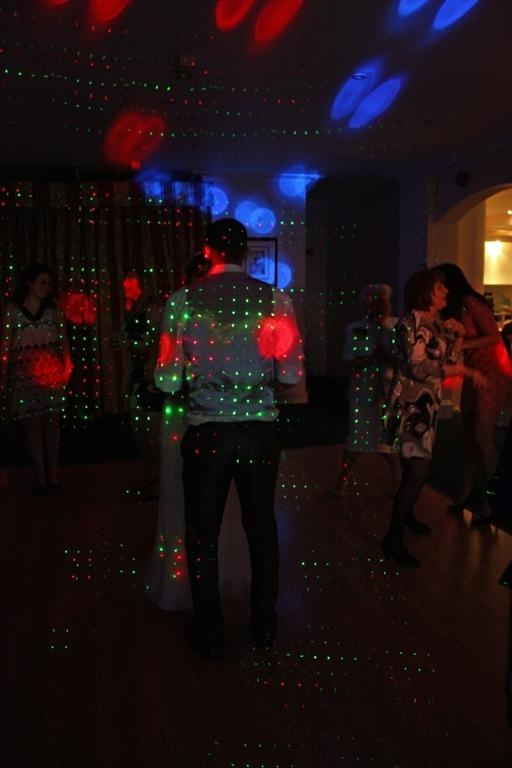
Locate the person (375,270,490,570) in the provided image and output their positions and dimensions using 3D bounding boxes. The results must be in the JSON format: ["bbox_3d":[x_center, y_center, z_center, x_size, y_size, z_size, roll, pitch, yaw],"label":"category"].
[{"bbox_3d":[0.683,0.144,2.434,0.328,1.196,0.182,-3,6,-27],"label":"person"}]

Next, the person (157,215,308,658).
[{"bbox_3d":[-0.080,0.242,1.759,0.427,1.133,0.235,0,5,5],"label":"person"}]

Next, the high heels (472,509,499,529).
[{"bbox_3d":[1.111,0.669,2.904,0.147,0.075,0.050,3,-3,-5],"label":"high heels"}]
